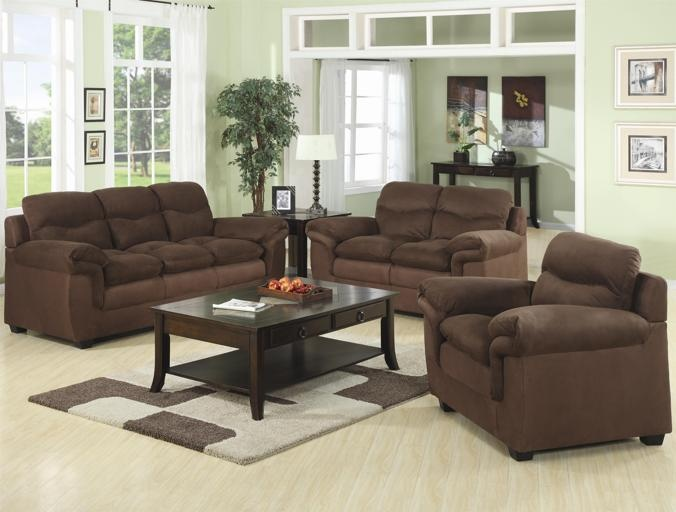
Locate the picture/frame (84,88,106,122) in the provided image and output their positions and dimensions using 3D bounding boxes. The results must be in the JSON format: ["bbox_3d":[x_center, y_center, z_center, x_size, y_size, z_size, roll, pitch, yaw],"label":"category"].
[{"bbox_3d":[-2.716,-1.670,6.792,0.049,0.378,0.292,6,14,26],"label":"picture/frame"}]

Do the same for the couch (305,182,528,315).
[{"bbox_3d":[0.728,-0.130,5.689,2.303,1.296,1.340,2,5,34],"label":"couch"}]

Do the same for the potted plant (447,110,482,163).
[{"bbox_3d":[2.056,-1.943,9.938,0.559,0.855,0.470,4,13,18],"label":"potted plant"}]

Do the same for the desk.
[{"bbox_3d":[1.866,-0.761,7.493,1.396,0.865,0.533,4,10,33],"label":"desk"}]

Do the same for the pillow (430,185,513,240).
[{"bbox_3d":[1.288,-0.407,5.931,0.966,0.616,0.517,2,8,34],"label":"pillow"}]

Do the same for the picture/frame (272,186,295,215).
[{"bbox_3d":[-0.600,-0.592,6.665,0.369,0.389,0.032,0,0,4],"label":"picture/frame"}]

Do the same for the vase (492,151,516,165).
[{"bbox_3d":[2.618,-1.537,9.589,0.372,0.243,0.335,2,12,13],"label":"vase"}]

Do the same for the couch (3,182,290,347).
[{"bbox_3d":[-1.623,0.101,5.000,0.680,0.711,1.542,6,9,39],"label":"couch"}]

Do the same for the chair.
[{"bbox_3d":[1.149,0.535,3.445,1.041,0.925,1.354,0,2,-19],"label":"chair"}]

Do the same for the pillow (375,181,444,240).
[{"bbox_3d":[0.718,-0.431,6.324,0.814,0.655,0.599,2,3,29],"label":"pillow"}]

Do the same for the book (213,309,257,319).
[{"bbox_3d":[-0.633,0.360,3.670,0.318,0.008,0.172,3,11,14],"label":"book"}]
